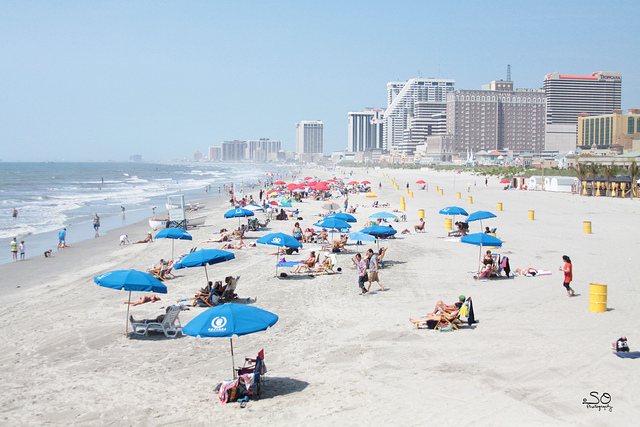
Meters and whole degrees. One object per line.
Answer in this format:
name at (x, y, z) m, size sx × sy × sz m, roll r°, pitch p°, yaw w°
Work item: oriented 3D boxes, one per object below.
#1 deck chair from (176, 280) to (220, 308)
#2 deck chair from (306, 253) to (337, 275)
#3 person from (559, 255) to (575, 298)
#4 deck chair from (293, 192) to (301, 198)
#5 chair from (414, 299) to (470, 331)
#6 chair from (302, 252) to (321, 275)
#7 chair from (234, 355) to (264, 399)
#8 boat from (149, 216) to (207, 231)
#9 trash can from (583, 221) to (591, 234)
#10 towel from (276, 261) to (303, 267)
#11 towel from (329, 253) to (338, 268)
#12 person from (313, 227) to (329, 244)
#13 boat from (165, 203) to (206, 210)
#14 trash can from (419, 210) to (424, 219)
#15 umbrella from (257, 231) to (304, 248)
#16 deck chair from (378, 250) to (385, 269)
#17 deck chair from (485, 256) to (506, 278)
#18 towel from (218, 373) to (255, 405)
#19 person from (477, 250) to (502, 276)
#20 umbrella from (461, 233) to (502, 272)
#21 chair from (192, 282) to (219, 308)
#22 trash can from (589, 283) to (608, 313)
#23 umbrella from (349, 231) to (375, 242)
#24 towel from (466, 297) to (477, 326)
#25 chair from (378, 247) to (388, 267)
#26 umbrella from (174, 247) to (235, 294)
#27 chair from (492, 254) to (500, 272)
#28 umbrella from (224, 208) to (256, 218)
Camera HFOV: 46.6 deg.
deck chair at (-5.714, 3.742, 33.679) m, size 2.023 × 1.255 × 0.922 m, roll 2°, pitch -4°, yaw 4°
deck chair at (0.057, 2.649, 38.177) m, size 1.852 × 0.858 × 0.987 m, roll -5°, pitch 5°, yaw -39°
person at (11.231, 2.790, 33.966) m, size 0.588 × 1.922 × 1.498 m, roll 0°, pitch 5°, yaw 18°
deck chair at (-2.348, -1.870, 74.765) m, size 0.492 × 0.462 × 1.378 m, roll -2°, pitch 5°, yaw -5°
chair at (5.147, 4.388, 30.993) m, size 2.093 × 1.182 × 0.966 m, roll 0°, pitch -7°, yaw 10°
chair at (-0.407, 2.476, 39.023) m, size 0.930 × 1.260 × 0.776 m, roll 2°, pitch -5°, yaw -10°
chair at (-2.489, 6.108, 28.214) m, size 1.556 × 1.572 × 1.525 m, roll -4°, pitch 4°, yaw -9°
boat at (-10.669, 0.755, 54.332) m, size 3.566 × 0.955 × 3.696 m, roll -1°, pitch 5°, yaw 12°
trash can at (16.746, 0.890, 46.895) m, size 0.639 × 0.661 × 0.613 m, roll 1°, pitch -1°, yaw 28°
towel at (-1.574, 2.650, 38.227) m, size 1.274 × 0.322 × 0.926 m, roll -2°, pitch 5°, yaw -6°
towel at (0.631, 2.443, 38.339) m, size 0.208 × 0.726 × 0.719 m, roll 2°, pitch -4°, yaw -34°
person at (-0.016, 1.334, 44.686) m, size 0.835 × 0.912 × 1.476 m, roll -2°, pitch 5°, yaw -5°
boat at (-11.070, -0.656, 62.105) m, size 3.186 × 0.543 × 0.724 m, roll 1°, pitch 3°, yaw 0°
trash can at (6.959, 0.009, 51.540) m, size 0.434 × 0.473 × 0.426 m, roll 0°, pitch 5°, yaw 6°
umbrella at (-2.088, 1.383, 37.339) m, size 2.112 × 0.772 × 1.563 m, roll -2°, pitch 5°, yaw -6°
deck chair at (3.180, 2.329, 39.133) m, size 0.344 × 0.934 × 1.427 m, roll -2°, pitch 5°, yaw 4°
deck chair at (8.532, 2.668, 36.489) m, size 0.890 × 1.045 × 0.836 m, roll 1°, pitch -5°, yaw 12°
towel at (-3.090, 6.379, 27.556) m, size 0.941 × 0.446 × 1.259 m, roll -1°, pitch 24°, yaw 17°
person at (8.325, 2.446, 36.729) m, size 1.234 × 1.532 × 1.188 m, roll 2°, pitch -3°, yaw -38°
umbrella at (7.833, 1.972, 36.596) m, size 1.991 × 2.005 × 2.049 m, roll 0°, pitch -8°, yaw 14°
chair at (-5.131, 3.650, 33.588) m, size 1.042 × 1.013 × 0.620 m, roll 0°, pitch 6°, yaw 18°
trash can at (11.991, 3.712, 32.237) m, size 0.960 × 1.128 × 0.963 m, roll -1°, pitch -22°, yaw 27°
umbrella at (2.233, 1.205, 38.486) m, size 1.459 × 0.443 × 0.900 m, roll 3°, pitch 7°, yaw 39°
towel at (6.341, 4.121, 31.352) m, size 0.426 × 1.124 × 0.622 m, roll -1°, pitch 5°, yaw 9°
chair at (3.233, 2.274, 39.198) m, size 0.722 × 0.944 × 0.697 m, roll -1°, pitch 1°, yaw -7°
umbrella at (-5.237, 2.708, 34.189) m, size 2.168 × 1.721 × 2.163 m, roll 1°, pitch 7°, yaw 21°
chair at (8.786, 2.492, 37.133) m, size 0.254 × 0.688 × 0.514 m, roll 0°, pitch 5°, yaw 38°
umbrella at (-4.959, -0.064, 44.997) m, size 1.546 × 0.558 × 2.107 m, roll -3°, pitch 5°, yaw -9°
